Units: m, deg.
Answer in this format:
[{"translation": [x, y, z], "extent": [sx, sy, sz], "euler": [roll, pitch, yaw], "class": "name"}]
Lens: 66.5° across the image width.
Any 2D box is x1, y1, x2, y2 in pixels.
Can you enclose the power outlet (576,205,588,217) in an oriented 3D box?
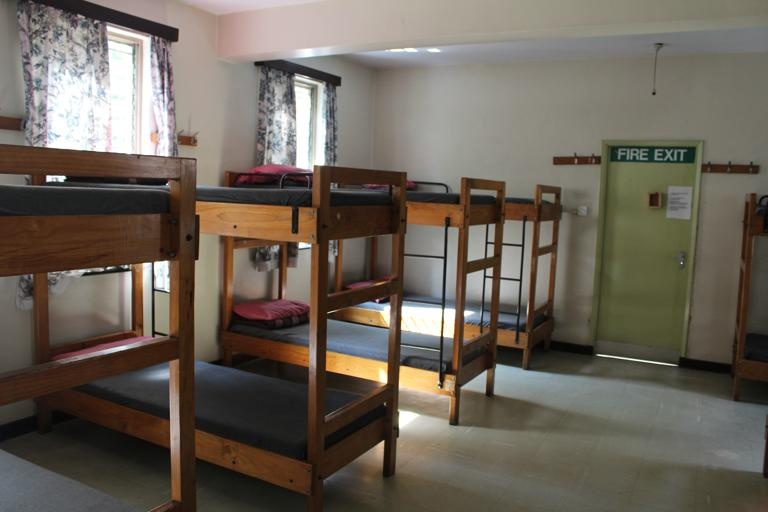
[{"translation": [2.516, -0.580, 7.466], "extent": [0.135, 0.133, 0.084], "euler": [1, 7, 25], "class": "power outlet"}]
